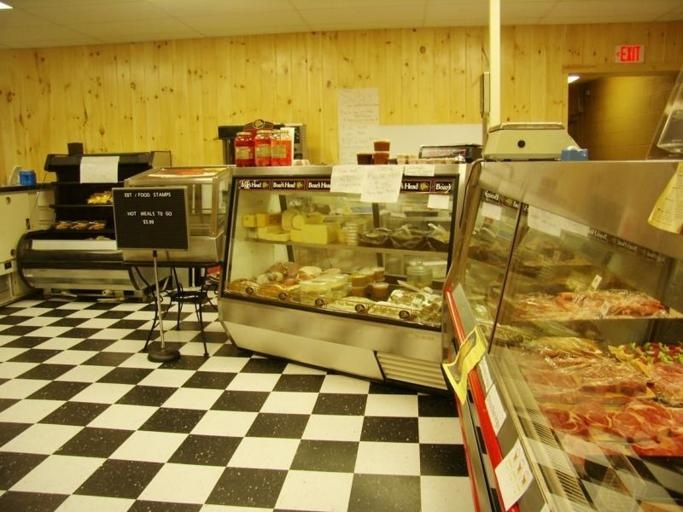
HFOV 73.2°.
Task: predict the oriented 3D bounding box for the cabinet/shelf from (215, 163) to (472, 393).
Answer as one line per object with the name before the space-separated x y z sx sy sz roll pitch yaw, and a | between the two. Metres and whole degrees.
cabinet/shelf | 0.025 0.153 2.956 1.503 1.001 0.575 8 18 29

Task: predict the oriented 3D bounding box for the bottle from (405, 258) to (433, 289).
bottle | 0.497 0.111 3.021 0.073 0.168 0.206 -12 16 -34

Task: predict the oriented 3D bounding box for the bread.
bread | -0.347 0.207 3.283 0.438 0.092 0.421 6 10 27

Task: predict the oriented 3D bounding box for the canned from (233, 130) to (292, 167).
canned | -0.542 -0.744 3.193 0.311 0.180 0.093 3 13 15

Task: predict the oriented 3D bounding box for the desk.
desk | -1.492 0.377 4.017 0.914 0.794 0.858 1 6 -2

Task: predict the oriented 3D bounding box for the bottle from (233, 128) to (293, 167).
bottle | -0.546 -0.749 3.196 0.322 0.187 0.098 3 13 15

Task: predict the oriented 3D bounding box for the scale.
scale | 0.730 -0.442 1.774 0.235 0.084 0.229 0 14 6

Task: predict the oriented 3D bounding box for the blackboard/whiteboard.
blackboard/whiteboard | -1.380 -0.276 3.322 0.516 0.359 0.066 2 7 11
